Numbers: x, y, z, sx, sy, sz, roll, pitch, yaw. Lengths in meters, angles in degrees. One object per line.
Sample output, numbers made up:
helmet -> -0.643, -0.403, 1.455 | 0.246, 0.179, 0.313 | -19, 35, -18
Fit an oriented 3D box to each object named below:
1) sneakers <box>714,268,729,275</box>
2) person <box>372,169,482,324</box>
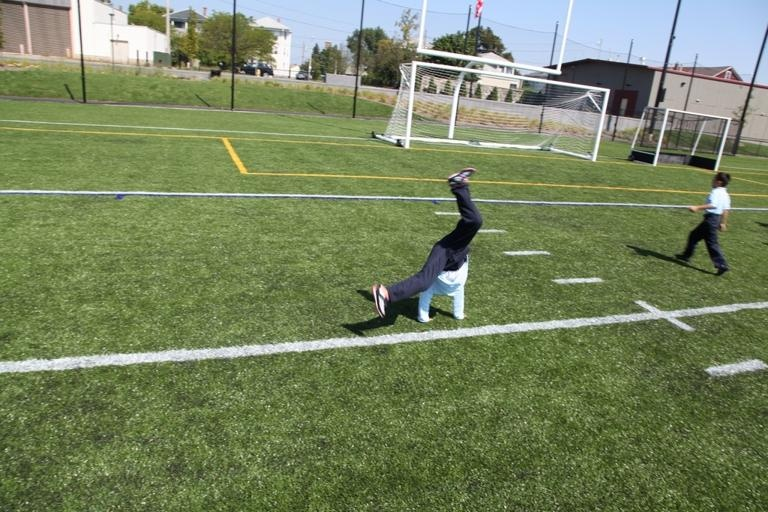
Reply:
sneakers -> 5.870, 0.245, 9.367 | 0.160, 0.159, 0.301 | 19, 21, 28
person -> 0.703, -0.050, 6.657 | 1.411, 2.061, 0.534 | -12, 33, -44
